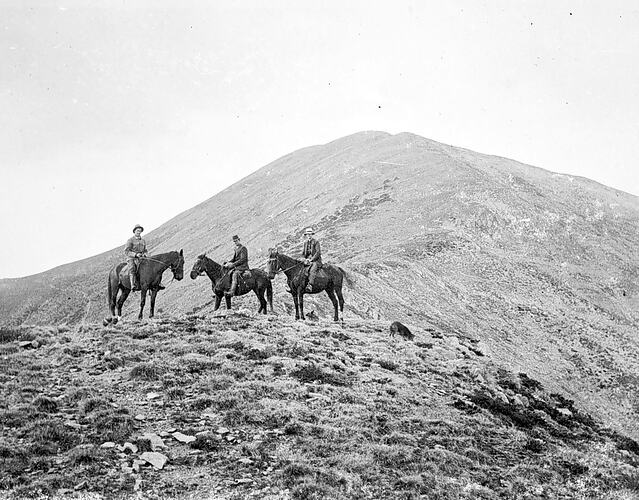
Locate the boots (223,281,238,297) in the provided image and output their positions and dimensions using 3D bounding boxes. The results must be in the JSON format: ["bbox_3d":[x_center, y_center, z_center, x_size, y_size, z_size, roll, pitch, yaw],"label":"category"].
[{"bbox_3d":[-4.398,1.922,32.368,0.411,0.656,0.984,17,-44,-41],"label":"boots"}]

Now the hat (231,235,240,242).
[{"bbox_3d":[-4.132,-0.527,31.961,0.378,0.271,0.475,-2,-2,-6],"label":"hat"}]
